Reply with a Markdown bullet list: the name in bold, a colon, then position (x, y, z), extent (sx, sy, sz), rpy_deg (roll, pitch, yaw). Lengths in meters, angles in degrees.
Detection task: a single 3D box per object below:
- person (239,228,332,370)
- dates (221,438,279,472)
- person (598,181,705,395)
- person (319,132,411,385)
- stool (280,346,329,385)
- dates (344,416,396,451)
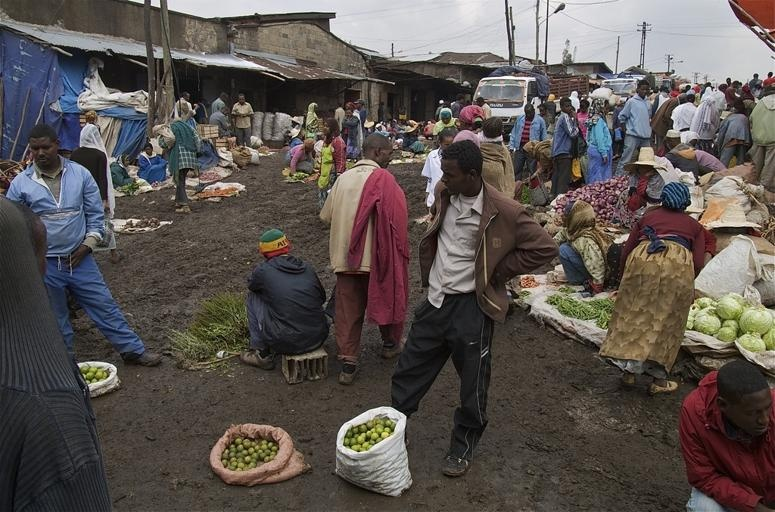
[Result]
- **person**: position (-1.727, 0.406, 6.082), extent (1.166, 1.802, 1.344), rpy_deg (-3, 13, -26)
- **dates**: position (-1.191, 1.697, 4.887), extent (0.479, 0.136, 0.345), rpy_deg (-2, 18, -7)
- **person**: position (2.709, 0.327, 5.810), extent (0.829, 2.035, 0.983), rpy_deg (2, 4, 34)
- **person**: position (-0.178, -0.024, 6.139), extent (1.003, 2.469, 1.235), rpy_deg (-4, 16, -17)
- **stool**: position (-0.868, 1.184, 5.940), extent (0.453, 0.295, 0.274), rpy_deg (-2, -16, -3)
- **dates**: position (-0.146, 1.466, 4.700), extent (0.324, 0.128, 0.233), rpy_deg (-26, 32, -20)
